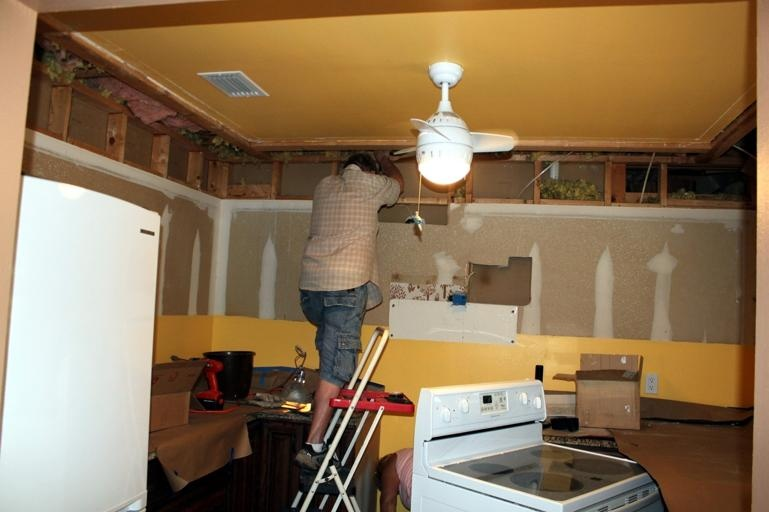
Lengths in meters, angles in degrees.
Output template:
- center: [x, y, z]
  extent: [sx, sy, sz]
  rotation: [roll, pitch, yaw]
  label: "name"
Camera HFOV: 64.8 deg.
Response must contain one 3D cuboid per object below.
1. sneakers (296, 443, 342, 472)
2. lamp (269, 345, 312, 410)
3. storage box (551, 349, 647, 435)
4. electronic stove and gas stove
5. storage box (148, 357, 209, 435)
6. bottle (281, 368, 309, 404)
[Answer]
- center: [-0.374, 1.240, 3.715]
  extent: [0.361, 0.178, 0.133]
  rotation: [5, -12, -8]
  label: "sneakers"
- center: [-0.622, 0.900, 4.364]
  extent: [0.202, 0.455, 0.222]
  rotation: [13, -16, -15]
  label: "lamp"
- center: [1.521, 0.907, 4.187]
  extent: [0.570, 0.437, 0.469]
  rotation: [-1, -18, 12]
  label: "storage box"
- center: [0.792, 1.190, 3.153]
  extent: [0.681, 0.180, 1.057]
  rotation: [-3, -8, -27]
  label: "electronic stove and gas stove"
- center: [-1.313, 0.865, 3.737]
  extent: [0.343, 0.358, 0.349]
  rotation: [-6, -12, 31]
  label: "storage box"
- center: [-0.602, 0.935, 4.354]
  extent: [0.200, 0.301, 0.206]
  rotation: [4, -18, 1]
  label: "bottle"
